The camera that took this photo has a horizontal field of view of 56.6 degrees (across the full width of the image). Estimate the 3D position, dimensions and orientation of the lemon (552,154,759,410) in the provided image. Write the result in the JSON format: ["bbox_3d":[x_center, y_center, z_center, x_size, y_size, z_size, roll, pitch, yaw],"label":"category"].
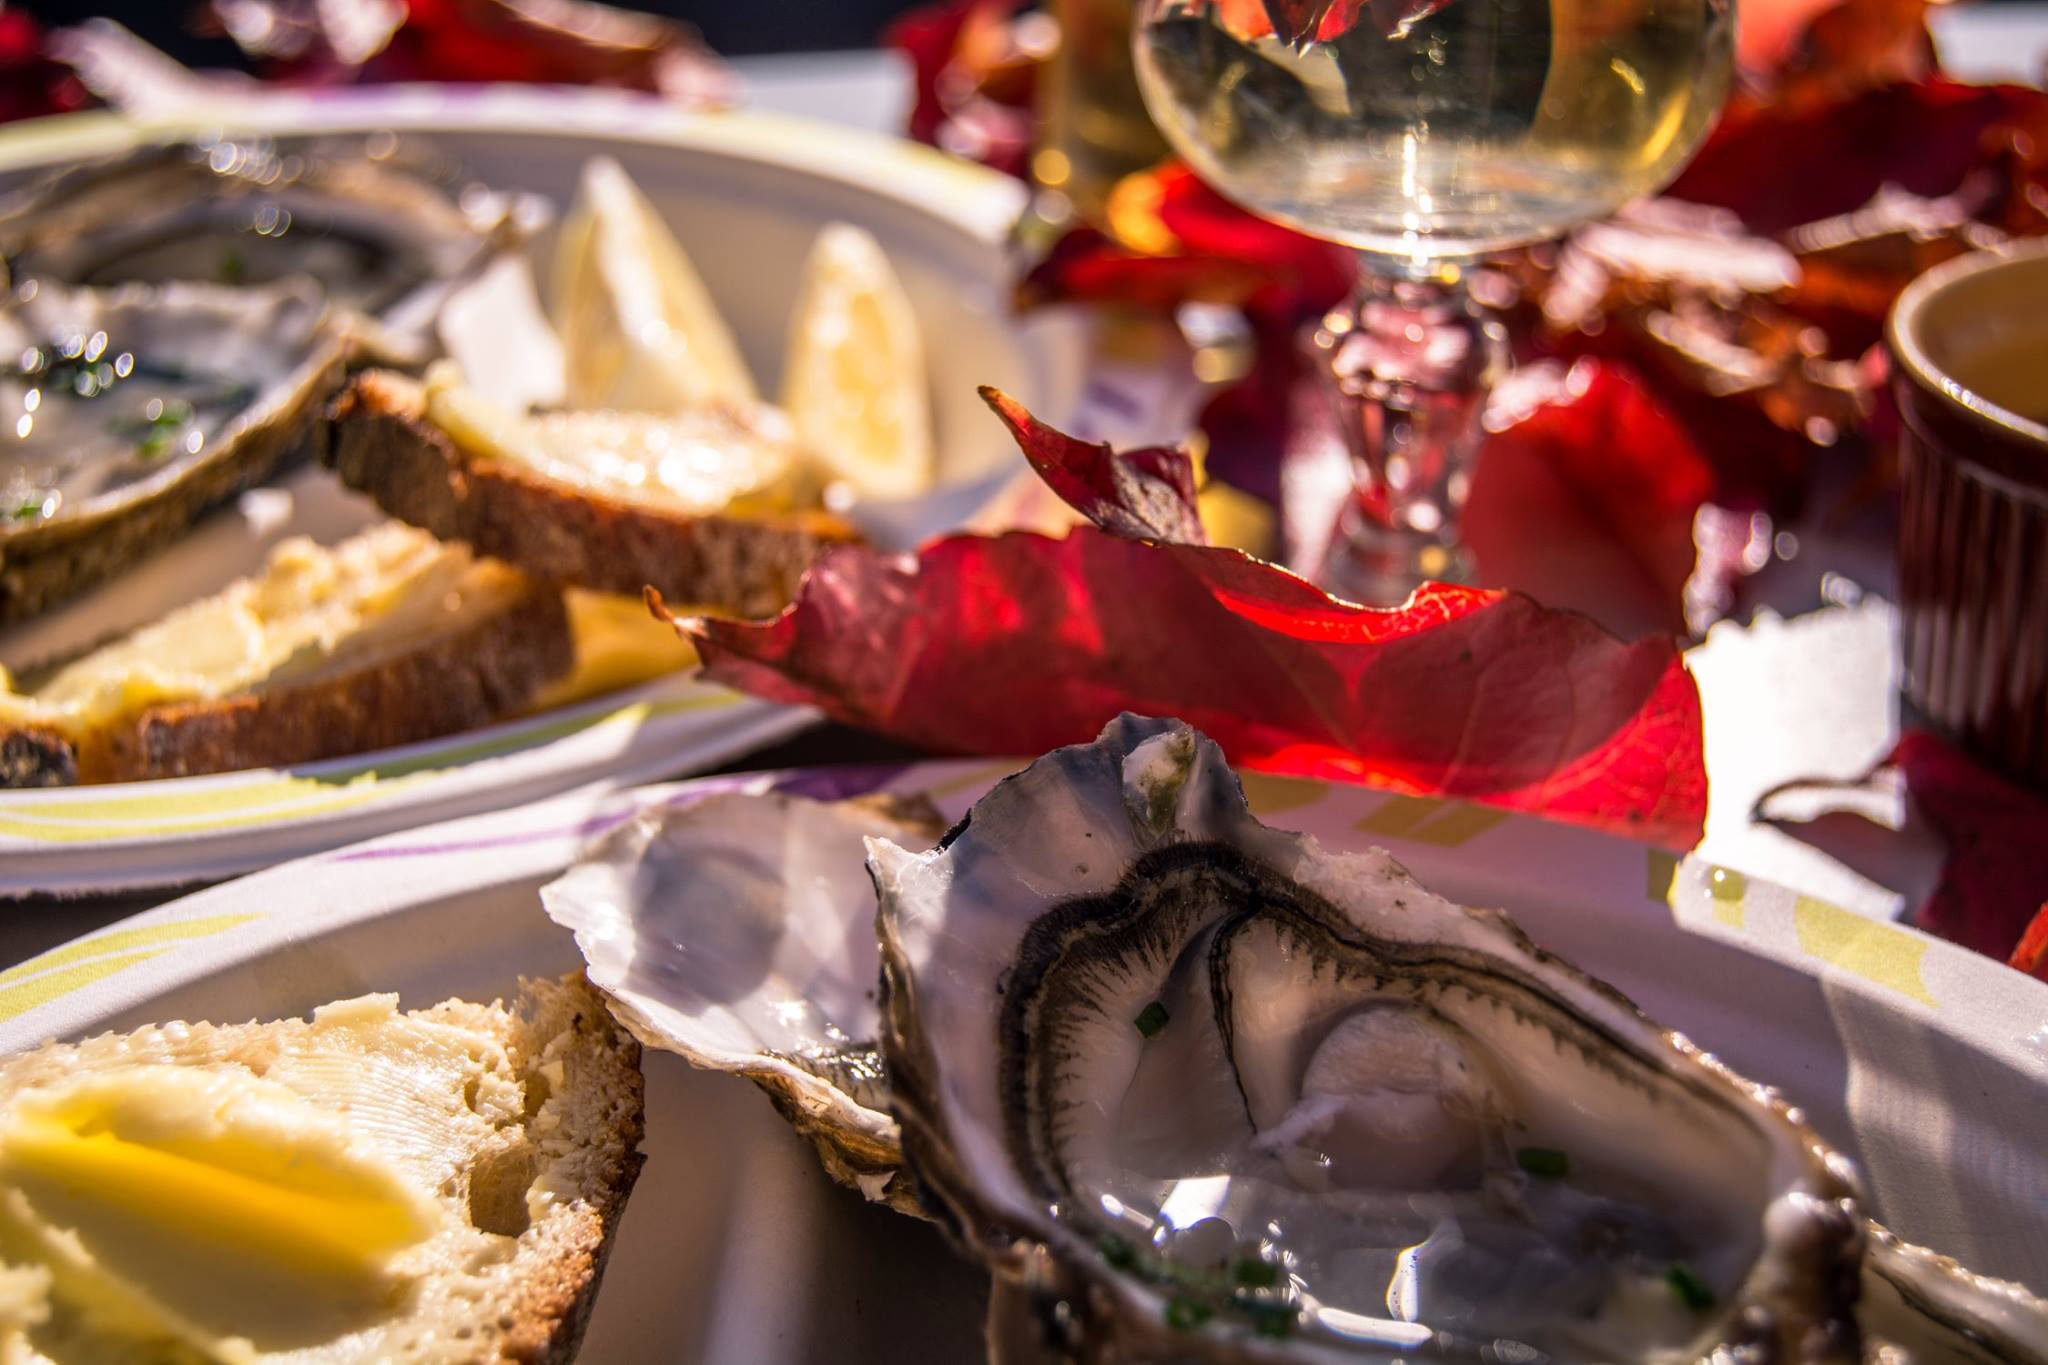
[{"bbox_3d":[-0.269,-0.261,1.314,0.117,0.077,0.290,-15,44,-10],"label":"lemon"}]
